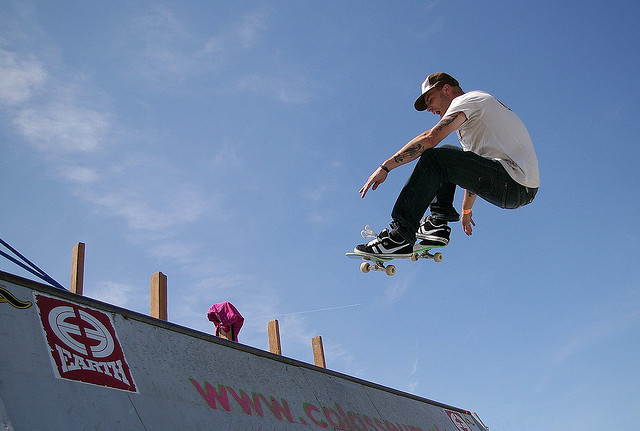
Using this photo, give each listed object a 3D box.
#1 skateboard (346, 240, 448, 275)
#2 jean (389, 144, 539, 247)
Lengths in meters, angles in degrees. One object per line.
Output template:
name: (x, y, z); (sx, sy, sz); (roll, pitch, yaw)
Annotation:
skateboard: (0.813, 0.453, 6.403); (1.734, 0.257, 0.486); (2, -6, -30)
jean: (1.360, -0.295, 5.798); (0.487, 1.090, 1.484); (-1, 0, -41)
